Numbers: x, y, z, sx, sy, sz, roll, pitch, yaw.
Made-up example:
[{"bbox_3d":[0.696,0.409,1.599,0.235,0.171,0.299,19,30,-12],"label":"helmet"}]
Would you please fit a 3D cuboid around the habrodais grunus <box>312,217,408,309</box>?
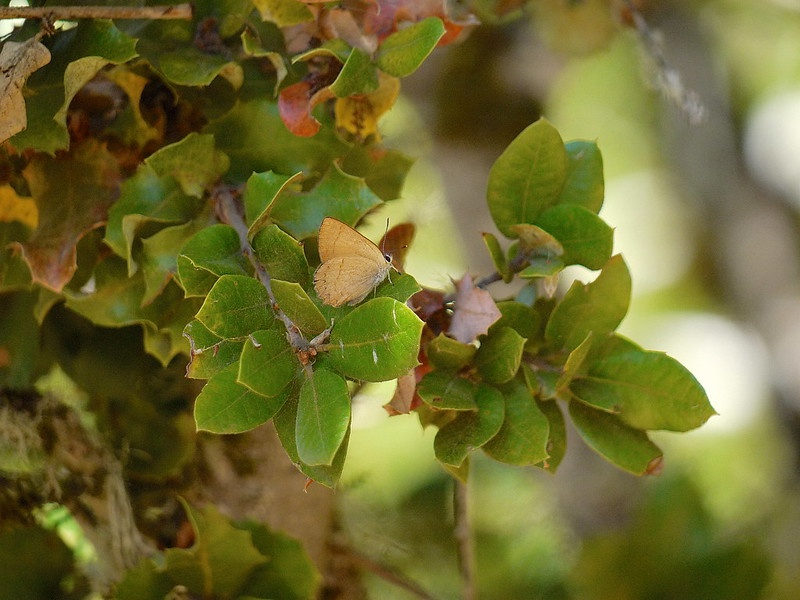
[{"bbox_3d":[-0.039,-0.035,1.209,0.080,0.070,0.092,-14,-1,9],"label":"habrodais grunus"}]
